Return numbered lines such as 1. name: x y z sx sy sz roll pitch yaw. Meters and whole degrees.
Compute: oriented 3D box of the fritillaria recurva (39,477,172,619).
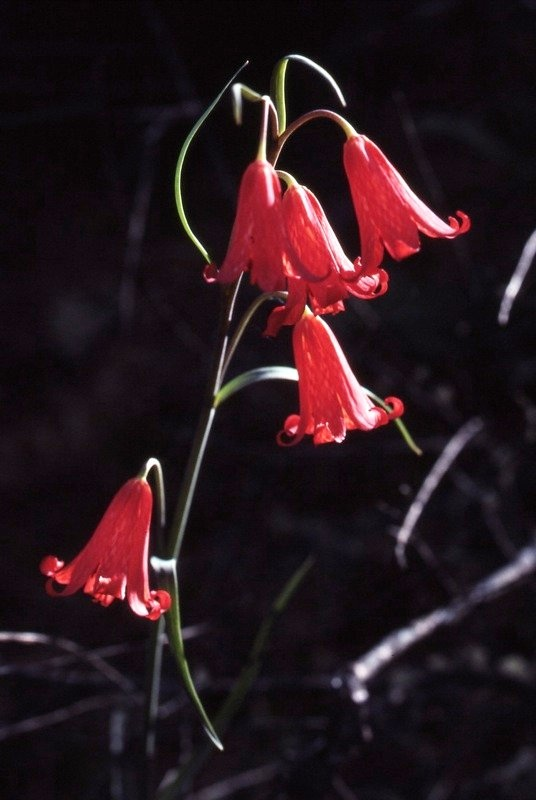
1. fritillaria recurva: -0.165 0.153 0.908 0.141 0.151 0.141 12 6 -12
